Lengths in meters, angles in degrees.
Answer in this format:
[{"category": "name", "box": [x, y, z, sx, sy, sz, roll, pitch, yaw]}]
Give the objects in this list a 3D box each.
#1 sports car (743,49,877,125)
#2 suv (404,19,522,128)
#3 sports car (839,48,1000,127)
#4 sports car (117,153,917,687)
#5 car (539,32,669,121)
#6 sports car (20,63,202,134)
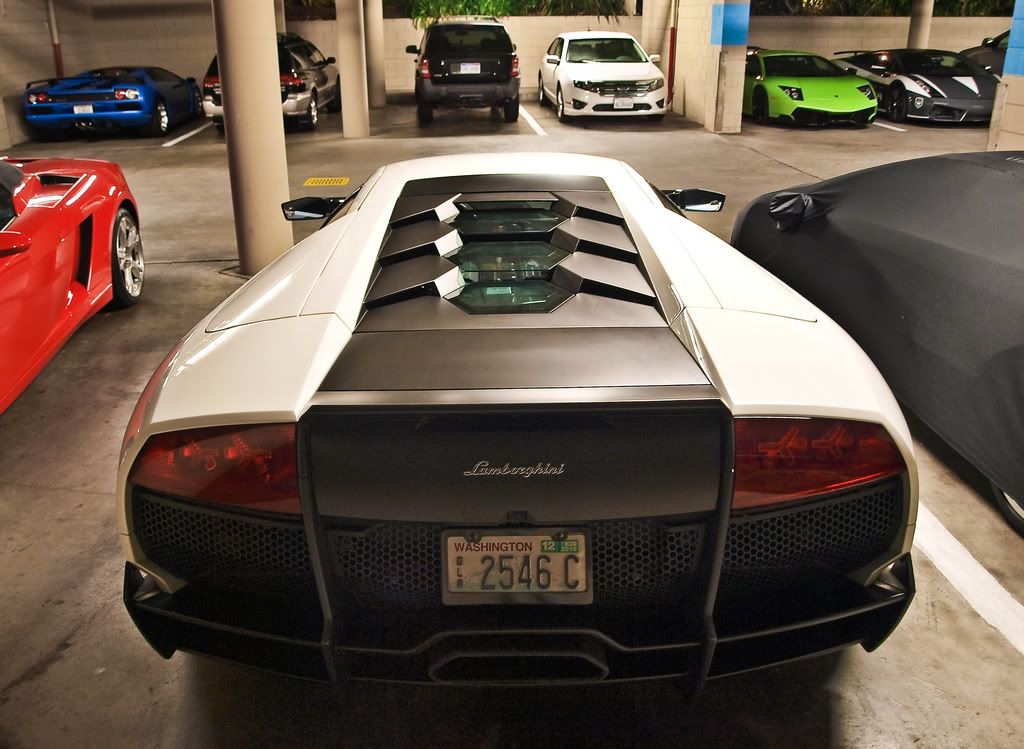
[{"category": "sports car", "box": [5.854, -5.768, 14.399, 1.617, 0.730, 2.707, -2, 22, -5]}, {"category": "suv", "box": [-1.016, -6.714, 15.446, 1.716, 1.275, 2.887, 0, 32, -2]}, {"category": "sports car", "box": [8.242, -5.697, 14.399, 1.931, 0.940, 3.195, -6, 33, -9]}, {"category": "sports car", "box": [-0.057, -0.372, 3.688, 2.557, 1.243, 4.197, -2, 22, -4]}, {"category": "car", "box": [1.895, -6.267, 14.964, 1.972, 1.665, 2.915, -7, 28, -10]}, {"category": "sports car", "box": [-7.670, -5.531, 14.511, 1.774, 0.759, 2.892, 2, 23, 4]}]
